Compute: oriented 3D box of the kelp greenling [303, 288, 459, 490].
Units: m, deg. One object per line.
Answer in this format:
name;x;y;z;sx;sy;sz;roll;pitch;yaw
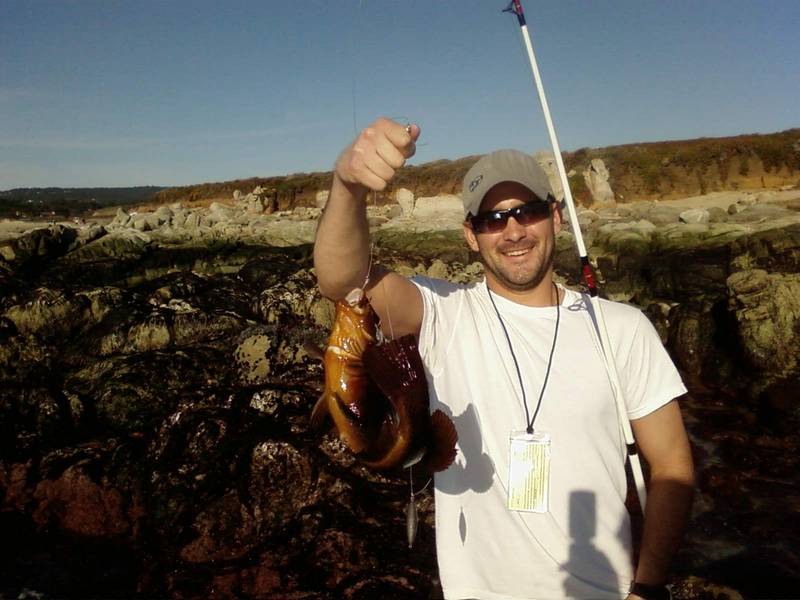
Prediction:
kelp greenling;-0.059;0.544;3.192;0.684;1.176;0.607;14;-53;-36
